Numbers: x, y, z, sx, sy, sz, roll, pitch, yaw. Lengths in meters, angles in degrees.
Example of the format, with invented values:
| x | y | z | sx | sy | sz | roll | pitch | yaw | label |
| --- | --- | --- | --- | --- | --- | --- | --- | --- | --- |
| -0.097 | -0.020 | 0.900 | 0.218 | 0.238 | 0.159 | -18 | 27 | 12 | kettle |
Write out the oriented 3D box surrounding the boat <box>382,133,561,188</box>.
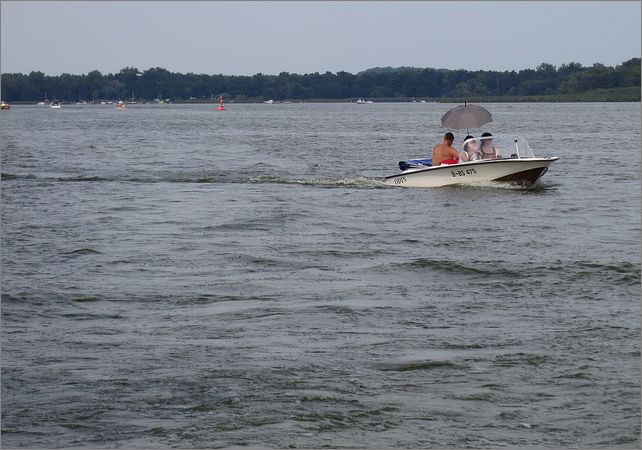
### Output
| x | y | z | sx | sy | sz | roll | pitch | yaw | label |
| --- | --- | --- | --- | --- | --- | --- | --- | --- | --- |
| 4.251 | -1.619 | 36.179 | 5.094 | 1.158 | 1.657 | -2 | 9 | 36 | boat |

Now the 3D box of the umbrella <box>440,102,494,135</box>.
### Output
| x | y | z | sx | sy | sz | roll | pitch | yaw | label |
| --- | --- | --- | --- | --- | --- | --- | --- | --- | --- |
| 3.984 | -3.013 | 36.588 | 1.146 | 0.776 | 0.934 | -4 | 42 | 1 | umbrella |
